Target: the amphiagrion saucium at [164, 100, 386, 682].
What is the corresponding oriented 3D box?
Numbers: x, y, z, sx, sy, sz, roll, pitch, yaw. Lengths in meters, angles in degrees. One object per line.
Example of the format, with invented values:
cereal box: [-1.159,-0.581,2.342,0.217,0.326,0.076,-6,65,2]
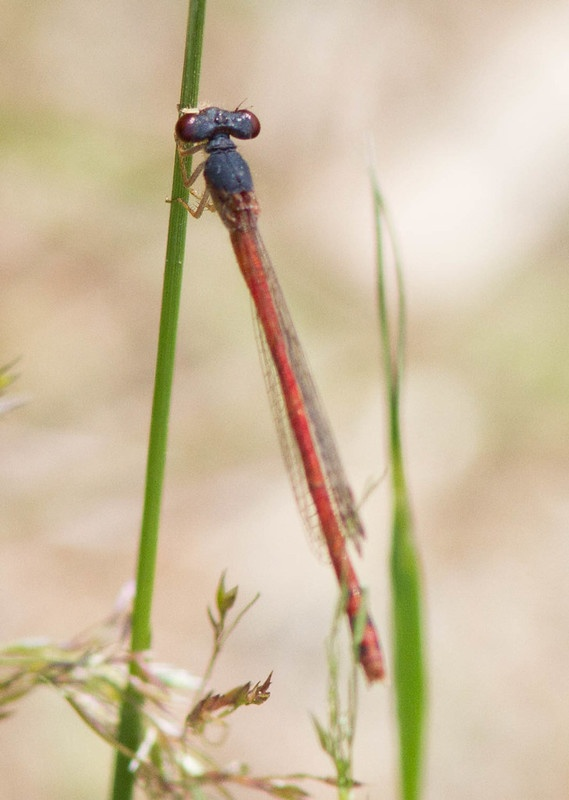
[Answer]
amphiagrion saucium: [-0.006,-0.048,0.736,0.100,0.098,0.532,-15,-89,-6]
